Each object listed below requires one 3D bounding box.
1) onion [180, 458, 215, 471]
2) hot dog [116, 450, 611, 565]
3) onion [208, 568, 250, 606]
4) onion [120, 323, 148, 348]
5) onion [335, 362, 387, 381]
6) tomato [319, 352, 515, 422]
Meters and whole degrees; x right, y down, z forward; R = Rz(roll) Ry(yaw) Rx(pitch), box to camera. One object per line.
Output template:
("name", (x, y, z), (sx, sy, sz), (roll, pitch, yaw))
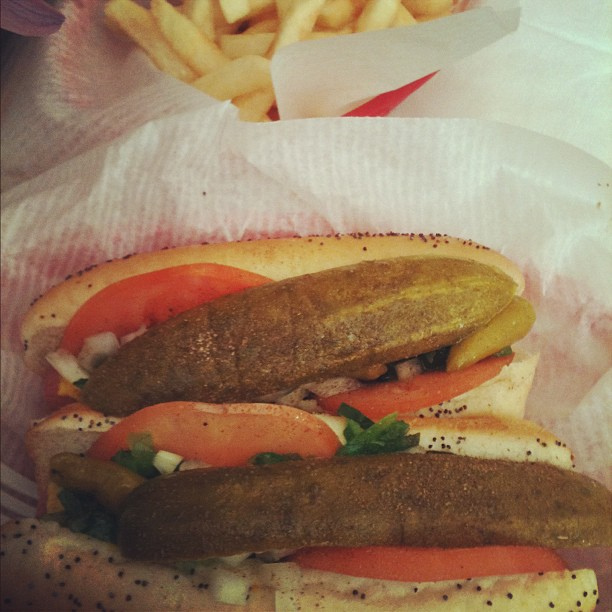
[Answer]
("onion", (-0.221, 0.315, 1.876), (0.060, 0.009, 0.025), (4, 18, 1))
("hot dog", (0.129, 0.408, 1.911), (0.993, 0.274, 0.181), (-6, 51, 3))
("onion", (-0.157, 0.557, 1.869), (0.066, 0.072, 0.054), (2, 52, 15))
("onion", (-0.352, 0.058, 1.911), (0.079, 0.021, 0.029), (-26, 77, -12))
("onion", (0.122, 0.129, 1.895), (0.053, 0.066, 0.017), (-9, 83, 35))
("tomato", (0.221, 0.170, 1.965), (0.482, 0.093, 0.084), (-7, 5, 1))
